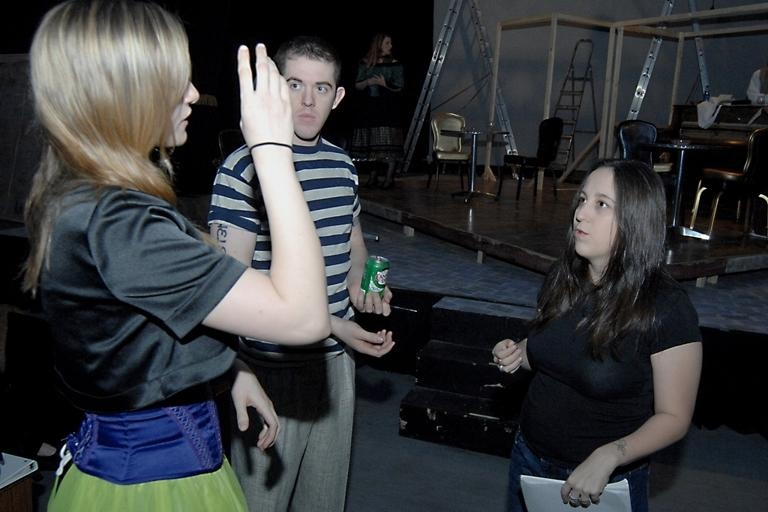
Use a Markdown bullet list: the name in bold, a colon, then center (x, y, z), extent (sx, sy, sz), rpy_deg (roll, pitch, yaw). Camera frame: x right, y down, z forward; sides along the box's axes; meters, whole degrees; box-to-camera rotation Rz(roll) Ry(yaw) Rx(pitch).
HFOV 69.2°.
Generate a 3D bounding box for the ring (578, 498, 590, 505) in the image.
- **ring**: center (0.586, 0.721, 1.625), extent (0.027, 0.008, 0.027), rpy_deg (-1, 4, 0)

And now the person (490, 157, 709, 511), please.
- **person**: center (0.703, 0.311, 1.846), extent (0.521, 1.190, 0.643), rpy_deg (-1, 18, -10)

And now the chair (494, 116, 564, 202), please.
- **chair**: center (1.971, -1.328, 7.437), extent (0.676, 1.039, 0.576), rpy_deg (-1, 10, -15)

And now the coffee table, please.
- **coffee table**: center (1.193, -1.165, 7.575), extent (1.061, 1.029, 1.035), rpy_deg (2, 6, -27)

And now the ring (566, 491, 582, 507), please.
- **ring**: center (0.561, 0.720, 1.638), extent (0.035, 0.051, 0.017), rpy_deg (3, 18, 3)
